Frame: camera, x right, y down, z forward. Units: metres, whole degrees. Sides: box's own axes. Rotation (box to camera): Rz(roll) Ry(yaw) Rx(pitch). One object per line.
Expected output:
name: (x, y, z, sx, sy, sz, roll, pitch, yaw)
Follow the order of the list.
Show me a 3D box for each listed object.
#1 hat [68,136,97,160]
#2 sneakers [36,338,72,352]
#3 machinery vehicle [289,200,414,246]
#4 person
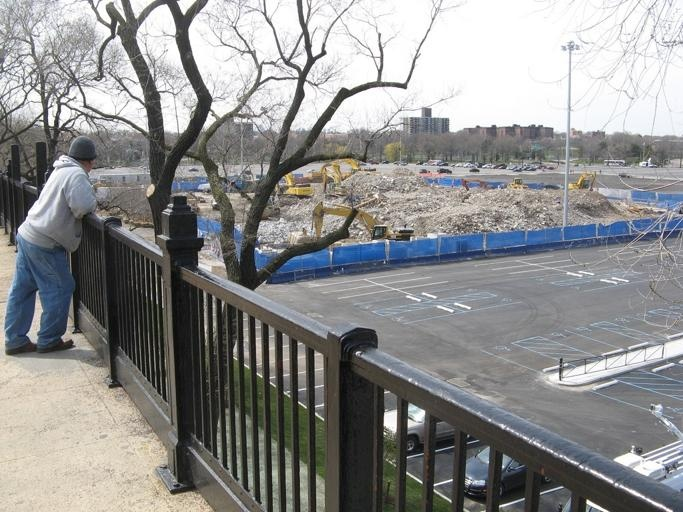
hat: (-2.319, -0.968, 6.295, 0.185, 0.166, 0.254, -4, 22, -26)
sneakers: (-2.645, 0.839, 6.529, 0.317, 0.137, 0.108, -10, 20, -28)
machinery vehicle: (1.266, -1.565, 38.282, 5.701, 2.285, 1.531, 0, 3, 3)
person: (-2.578, 0.032, 6.189, 0.912, 1.798, 0.394, 0, 11, -5)
